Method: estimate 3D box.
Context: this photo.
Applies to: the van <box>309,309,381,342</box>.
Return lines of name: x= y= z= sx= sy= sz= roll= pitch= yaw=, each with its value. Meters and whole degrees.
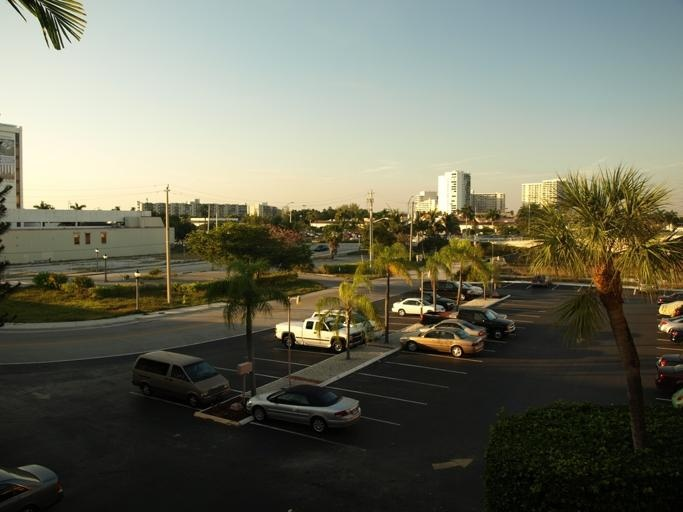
van: x=0.107 y=3.903 z=31.779 sx=3.928 sy=1.494 sz=1.933 roll=0 pitch=2 yaw=31

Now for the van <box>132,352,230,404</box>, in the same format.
van: x=-7.001 y=5.215 z=24.122 sx=3.950 sy=1.535 sz=1.944 roll=3 pitch=7 yaw=28

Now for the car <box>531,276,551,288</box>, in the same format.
car: x=20.140 y=2.621 z=55.966 sx=1.558 sy=1.127 sz=3.576 roll=1 pitch=6 yaw=30

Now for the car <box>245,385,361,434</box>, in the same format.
car: x=-1.333 y=5.901 z=21.531 sx=3.769 sy=1.174 sz=1.745 roll=4 pitch=2 yaw=26

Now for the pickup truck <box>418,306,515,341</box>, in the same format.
pickup truck: x=7.934 y=4.014 z=34.727 sx=5.395 sy=1.610 sz=2.326 roll=0 pitch=5 yaw=22

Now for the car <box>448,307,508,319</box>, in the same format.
car: x=8.959 y=3.763 z=36.340 sx=2.075 sy=0.735 sz=1.040 roll=-1 pitch=3 yaw=20

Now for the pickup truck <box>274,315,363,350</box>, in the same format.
pickup truck: x=-1.929 y=4.543 z=32.172 sx=4.552 sy=1.496 sz=1.978 roll=6 pitch=-4 yaw=-9

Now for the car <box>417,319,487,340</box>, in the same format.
car: x=6.465 y=4.431 z=31.650 sx=3.400 sy=1.175 sz=1.476 roll=3 pitch=4 yaw=21
